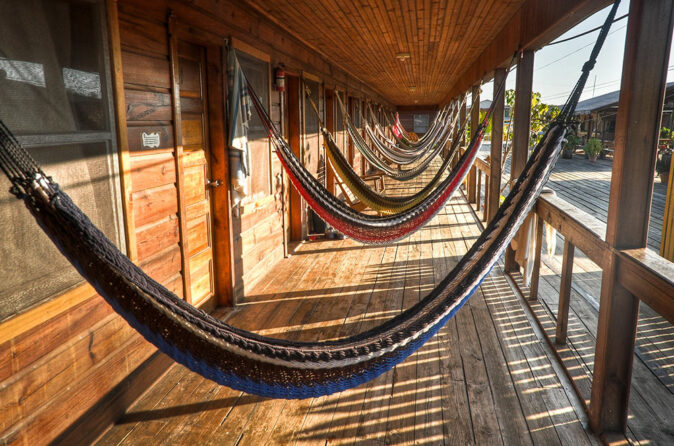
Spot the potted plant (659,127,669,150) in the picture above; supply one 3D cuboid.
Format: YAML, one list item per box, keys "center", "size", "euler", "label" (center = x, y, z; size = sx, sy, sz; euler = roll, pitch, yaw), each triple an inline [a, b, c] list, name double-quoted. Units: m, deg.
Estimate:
- center: [9.480, -2.427, 11.873]
  size: [0.254, 0.561, 1.183]
  euler: [10, 19, 36]
  label: "potted plant"

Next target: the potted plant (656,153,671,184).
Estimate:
- center: [8.215, -1.411, 10.367]
  size: [0.241, 0.585, 1.558]
  euler: [10, 19, 36]
  label: "potted plant"

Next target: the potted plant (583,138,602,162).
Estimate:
- center: [10.033, -2.886, 16.065]
  size: [0.545, 0.848, 1.075]
  euler: [8, 18, 31]
  label: "potted plant"
